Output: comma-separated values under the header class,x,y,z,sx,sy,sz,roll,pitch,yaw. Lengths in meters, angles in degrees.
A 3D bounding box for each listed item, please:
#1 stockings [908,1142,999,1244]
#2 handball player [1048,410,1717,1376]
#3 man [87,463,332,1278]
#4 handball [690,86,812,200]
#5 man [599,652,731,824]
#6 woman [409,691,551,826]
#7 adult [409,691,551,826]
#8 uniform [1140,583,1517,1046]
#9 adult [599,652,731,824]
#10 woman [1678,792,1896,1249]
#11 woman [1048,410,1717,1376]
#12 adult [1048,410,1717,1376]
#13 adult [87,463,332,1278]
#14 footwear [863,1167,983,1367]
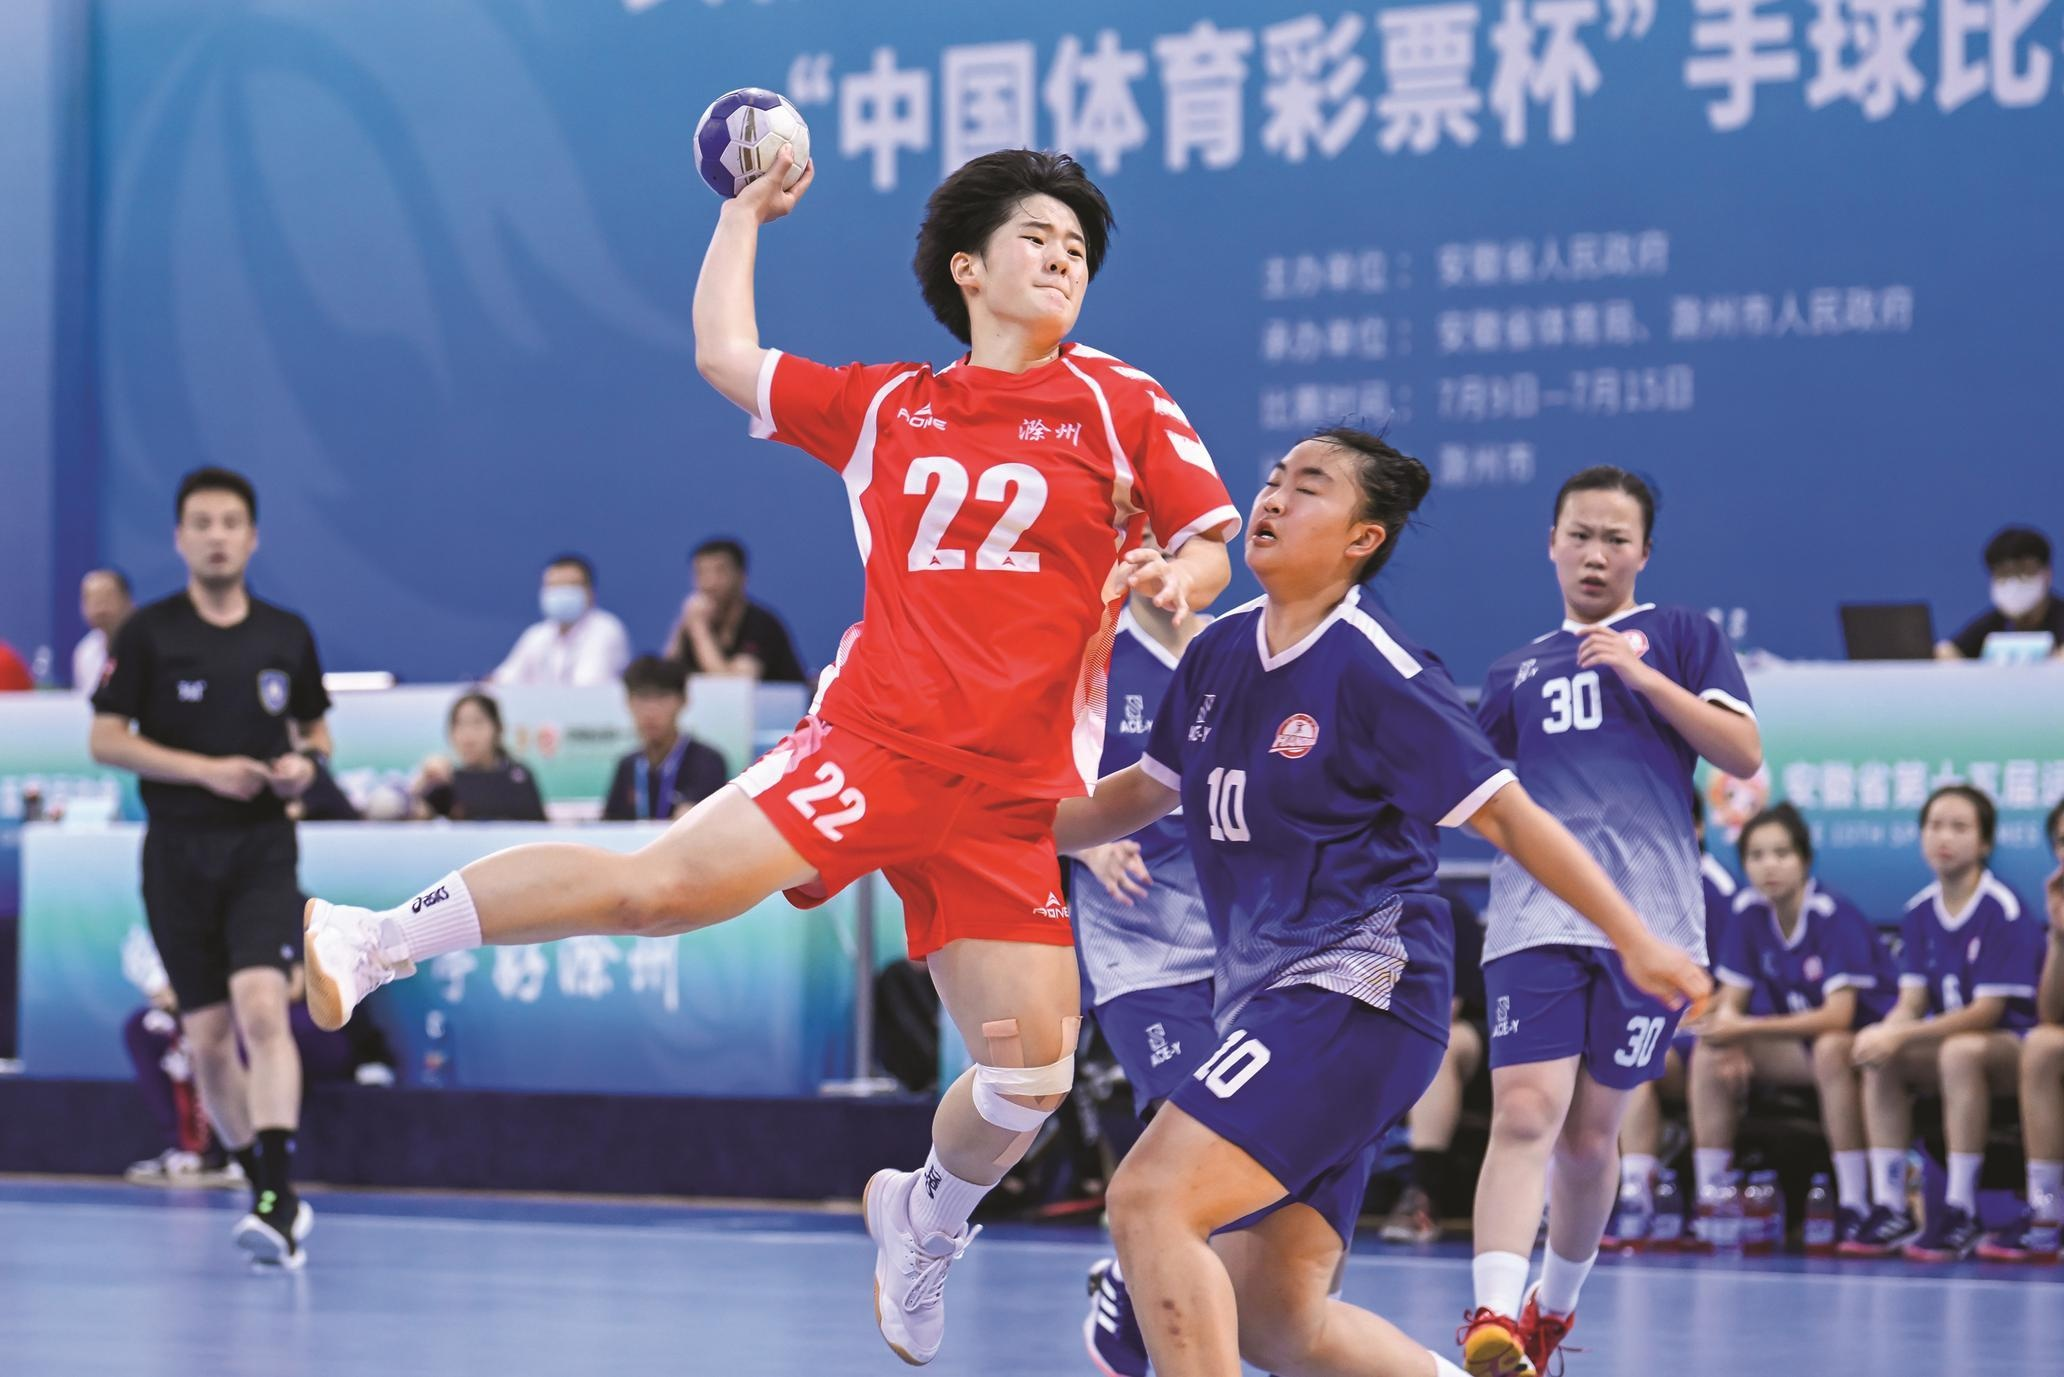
class,x,y,z,sx,sy,sz,roll,pitch,yaw
stockings,-0.274,1.513,7.191,0.184,0.295,0.306,44,10,24
handball player,0.826,0.577,6.406,1.222,2.584,0.661,0,-1,1
man,-3.211,0.695,9.253,0.814,3.082,0.522,0,-1,-16
handball,-0.825,-1.599,7.080,0.324,0.378,0.319,-7,10,-39
man,-1.647,0.259,10.535,0.578,0.817,0.399,-8,-11,12
woman,-2.532,0.439,11.084,0.853,0.783,0.515,-1,-4,4
adult,-2.596,0.366,11.027,0.685,0.634,0.388,-5,-2,-14
uniform,0.777,0.371,6.625,0.644,1.238,1.239,2,-1,-39
adult,-1.647,0.259,10.535,0.578,0.817,0.399,-8,-11,12
woman,3.151,1.350,9.755,1.071,1.772,0.832,-5,-2,-31
woman,0.802,0.579,6.467,1.228,2.584,0.708,0,-1,-5
adult,0.824,0.577,6.407,1.221,2.584,0.658,0,-1,1
adult,-3.214,0.695,9.252,0.815,3.082,0.511,0,-1,-15
footwear,-0.370,1.783,7.166,0.233,0.717,0.301,-1,-9,-40
